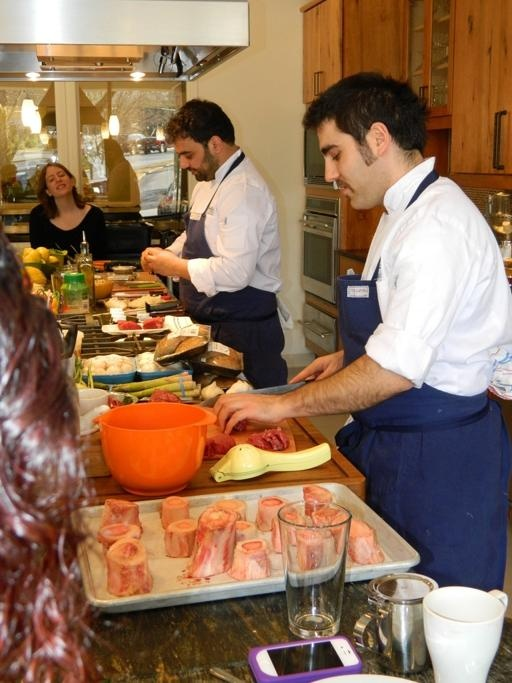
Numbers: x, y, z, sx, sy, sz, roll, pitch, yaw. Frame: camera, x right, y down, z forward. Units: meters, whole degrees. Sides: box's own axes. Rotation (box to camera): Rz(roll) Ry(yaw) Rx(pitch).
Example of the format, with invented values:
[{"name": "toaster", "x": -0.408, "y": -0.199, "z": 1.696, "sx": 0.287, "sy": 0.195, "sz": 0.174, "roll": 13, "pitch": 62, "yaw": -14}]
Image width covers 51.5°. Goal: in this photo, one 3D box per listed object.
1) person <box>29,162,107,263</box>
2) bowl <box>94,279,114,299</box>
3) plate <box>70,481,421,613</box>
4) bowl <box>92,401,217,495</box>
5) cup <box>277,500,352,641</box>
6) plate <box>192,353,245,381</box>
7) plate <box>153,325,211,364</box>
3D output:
[{"name": "person", "x": -1.664, "y": -1.117, "z": 4.642, "sx": 0.667, "sy": 0.813, "sz": 0.383, "roll": -8, "pitch": 15, "yaw": -20}, {"name": "bowl", "x": -0.898, "y": -0.312, "z": 3.125, "sx": 0.115, "sy": 0.069, "sz": 0.109, "roll": 0, "pitch": 0, "yaw": 0}, {"name": "plate", "x": -0.016, "y": 0.330, "z": 0.810, "sx": 0.489, "sy": 0.048, "sz": 0.341, "roll": -2, "pitch": 9, "yaw": -13}, {"name": "bowl", "x": -0.198, "y": 0.222, "z": 1.109, "sx": 0.232, "sy": 0.138, "sz": 0.203, "roll": 1, "pitch": 9, "yaw": 6}, {"name": "cup", "x": 0.080, "y": 0.296, "z": 0.723, "sx": 0.095, "sy": 0.169, "sz": 0.137, "roll": -3, "pitch": 14, "yaw": 1}, {"name": "plate", "x": -0.133, "y": 0.078, "z": 1.758, "sx": 0.120, "sy": 0.032, "sz": 0.114, "roll": 1, "pitch": 15, "yaw": 2}, {"name": "plate", "x": -0.253, "y": 0.015, "z": 1.762, "sx": 0.146, "sy": 0.036, "sz": 0.139, "roll": -24, "pitch": 15, "yaw": 3}]
